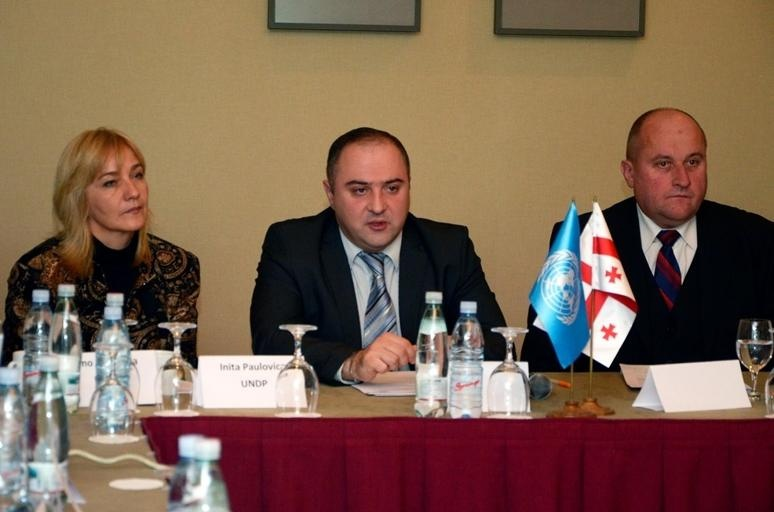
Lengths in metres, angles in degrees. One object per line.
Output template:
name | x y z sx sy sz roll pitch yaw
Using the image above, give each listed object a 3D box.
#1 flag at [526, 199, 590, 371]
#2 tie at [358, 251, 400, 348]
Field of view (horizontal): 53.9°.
flag | 0.585 0.102 2.614 0.191 0.563 0.194 -3 -5 19
tie | -0.047 0.186 3.465 0.182 0.433 0.152 -1 -5 -3
